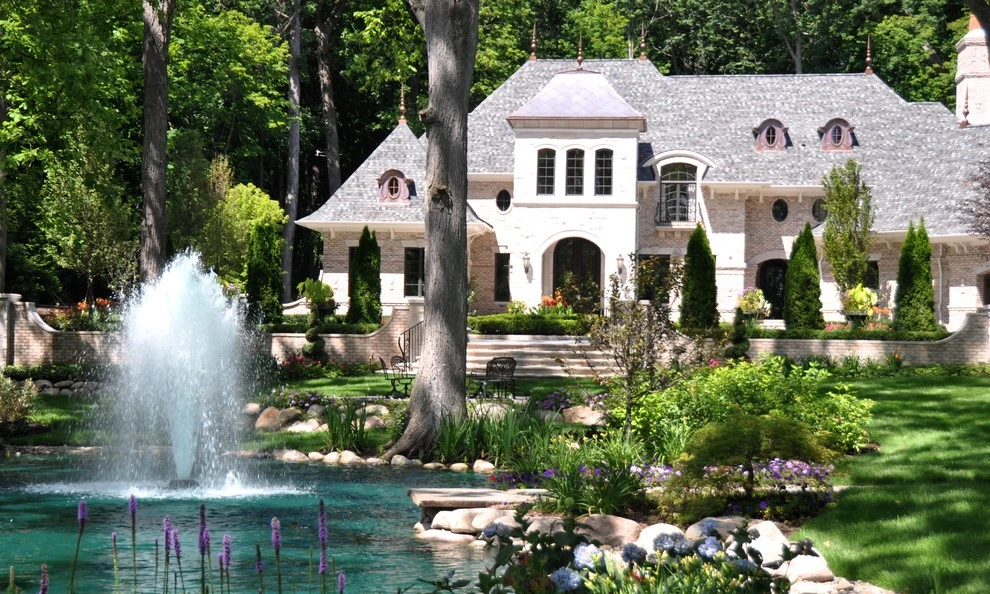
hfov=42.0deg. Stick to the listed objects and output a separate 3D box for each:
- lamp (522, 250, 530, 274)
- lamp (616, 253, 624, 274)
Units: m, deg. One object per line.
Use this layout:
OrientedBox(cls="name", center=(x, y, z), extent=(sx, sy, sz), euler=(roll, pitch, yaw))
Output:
OrientedBox(cls="lamp", center=(1.485, -1.641, 58.750), extent=(0.392, 0.976, 0.145), euler=(-2, -3, 17))
OrientedBox(cls="lamp", center=(5.697, -1.538, 58.101), extent=(0.398, 0.894, 0.285), euler=(-1, -3, 0))
